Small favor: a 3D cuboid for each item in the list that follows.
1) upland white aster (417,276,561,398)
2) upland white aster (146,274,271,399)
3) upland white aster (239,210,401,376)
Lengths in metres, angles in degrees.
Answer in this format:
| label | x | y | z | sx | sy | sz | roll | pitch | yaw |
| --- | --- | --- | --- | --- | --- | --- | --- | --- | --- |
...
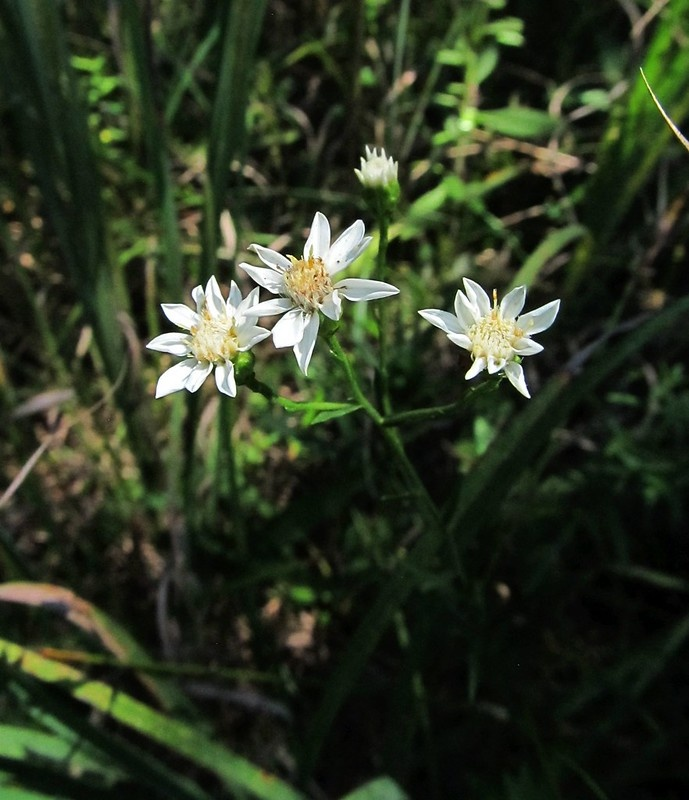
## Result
| label | x | y | z | sx | sy | sz | roll | pitch | yaw |
| --- | --- | --- | --- | --- | --- | --- | --- | --- | --- |
| upland white aster | 0.157 | -0.083 | 0.808 | 0.126 | 0.049 | 0.127 | -10 | -20 | 32 |
| upland white aster | -0.120 | -0.074 | 0.868 | 0.139 | 0.135 | 0.055 | -43 | -35 | 16 |
| upland white aster | -0.033 | -0.108 | 0.780 | 0.191 | 0.169 | 0.070 | -5 | -28 | 9 |
